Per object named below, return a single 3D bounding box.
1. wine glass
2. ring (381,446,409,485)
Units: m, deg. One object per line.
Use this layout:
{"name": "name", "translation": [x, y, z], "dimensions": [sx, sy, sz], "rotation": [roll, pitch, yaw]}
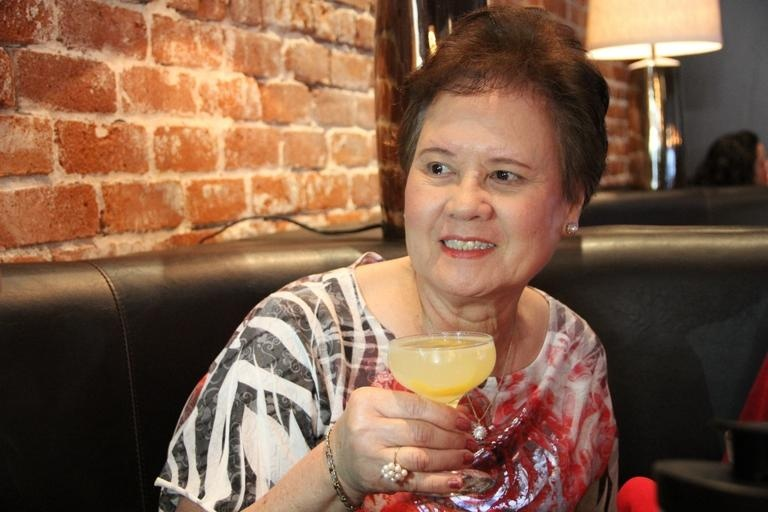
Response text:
{"name": "wine glass", "translation": [0.134, 0.300, 1.300], "dimensions": [0.223, 0.257, 0.220], "rotation": [-6, 3, -29]}
{"name": "ring", "translation": [0.020, 0.407, 1.209], "dimensions": [0.053, 0.074, 0.013], "rotation": [-2, 9, 1]}
